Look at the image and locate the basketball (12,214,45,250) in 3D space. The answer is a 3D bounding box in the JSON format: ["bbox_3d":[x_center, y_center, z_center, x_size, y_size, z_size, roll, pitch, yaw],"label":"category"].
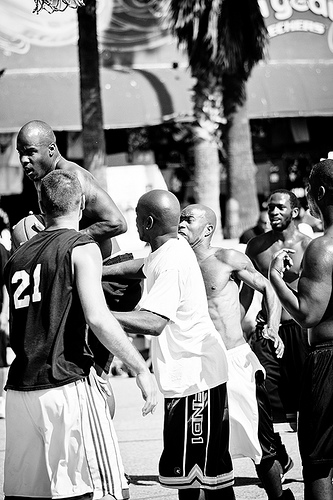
[{"bbox_3d":[-0.763,-0.095,3.868,0.170,0.184,0.329,0,10,-14],"label":"basketball"}]

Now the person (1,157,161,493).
[{"bbox_3d":[-0.419,0.319,3.131,0.605,1.334,0.891,0,10,-13],"label":"person"}]
